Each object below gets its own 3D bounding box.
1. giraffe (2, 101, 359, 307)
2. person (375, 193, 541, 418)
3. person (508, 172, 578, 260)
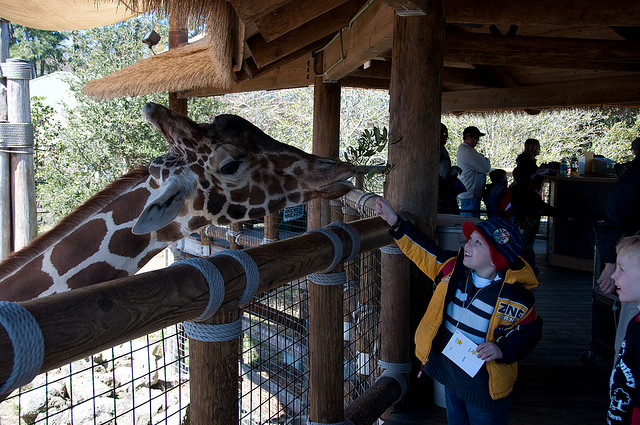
[{"bbox_3d":[-0.954,-0.053,3.516,2.175,1.302,0.652,-3,14,-25],"label":"giraffe"},{"bbox_3d":[1.048,0.799,3.887,1.035,1.533,0.470,10,14,27],"label":"person"},{"bbox_3d":[3.173,0.045,7.315,0.622,1.422,0.991,-16,19,-4],"label":"person"}]
